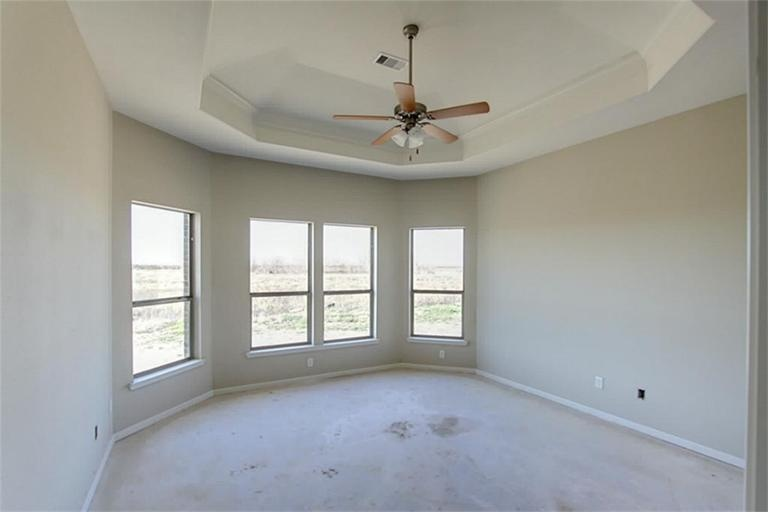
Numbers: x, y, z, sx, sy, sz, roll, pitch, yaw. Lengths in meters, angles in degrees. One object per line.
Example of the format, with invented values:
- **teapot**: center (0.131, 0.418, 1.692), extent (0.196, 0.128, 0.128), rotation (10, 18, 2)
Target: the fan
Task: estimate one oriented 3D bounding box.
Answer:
- **fan**: center (0.371, -1.707, 4.789), extent (1.177, 0.976, 1.162), rotation (-1, -9, 7)
